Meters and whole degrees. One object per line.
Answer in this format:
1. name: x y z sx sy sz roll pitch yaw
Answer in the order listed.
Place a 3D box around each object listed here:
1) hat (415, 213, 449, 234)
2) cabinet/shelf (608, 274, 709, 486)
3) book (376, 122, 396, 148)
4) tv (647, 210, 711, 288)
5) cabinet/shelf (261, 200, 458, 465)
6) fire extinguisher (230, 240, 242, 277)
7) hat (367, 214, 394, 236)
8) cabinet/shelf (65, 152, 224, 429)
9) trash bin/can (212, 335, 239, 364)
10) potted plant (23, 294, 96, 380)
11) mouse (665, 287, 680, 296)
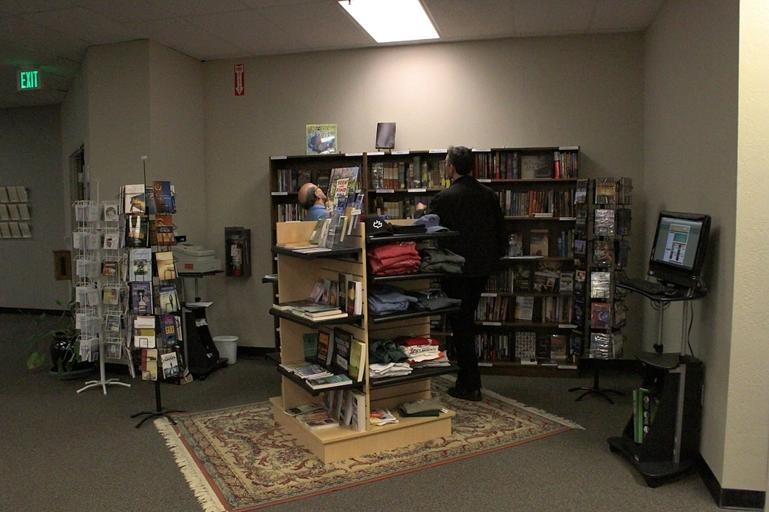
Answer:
1. hat: 0.468 -0.324 5.823 0.190 0.097 0.275 -5 9 -35
2. cabinet/shelf: 2.487 1.072 5.328 0.725 1.691 0.862 2 14 14
3. book: 0.026 -1.593 7.814 0.376 0.471 0.063 0 -15 3
4. tv: 2.670 -0.053 5.306 0.260 0.680 0.690 6 3 -13
5. cabinet/shelf: -0.356 0.498 6.892 2.210 3.034 2.272 -5 8 -27
6. fire extinguisher: -2.050 0.033 8.237 0.152 0.422 0.080 1 14 9
7. hat: -0.041 -0.284 5.481 0.209 0.086 0.265 -1 8 -8
8. cabinet/shelf: -2.770 0.408 6.712 1.502 2.472 1.823 -8 15 -29
9. trash bin/can: -2.137 1.221 8.006 0.398 0.311 0.321 -1 6 0
10. potted plant: -4.139 1.148 7.512 0.609 0.767 0.663 -11 10 42
11. mouse: 2.539 0.300 5.203 0.078 0.022 0.080 -6 20 -8
